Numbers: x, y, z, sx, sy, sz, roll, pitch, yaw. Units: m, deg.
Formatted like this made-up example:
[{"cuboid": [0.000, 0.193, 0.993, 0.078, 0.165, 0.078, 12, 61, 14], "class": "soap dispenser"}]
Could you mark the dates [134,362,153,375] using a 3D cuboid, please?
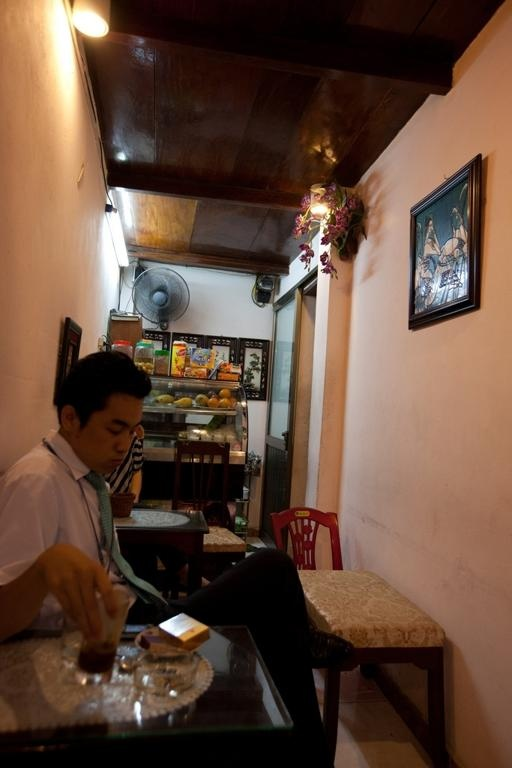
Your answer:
[{"cuboid": [-0.605, -0.089, 2.822, 0.082, 0.035, 0.084, 30, -4, 38], "class": "dates"}]

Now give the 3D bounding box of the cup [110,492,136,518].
[{"cuboid": [-0.573, 0.518, 2.223, 0.094, 0.086, 0.105, 2, 1, 18], "class": "cup"}]

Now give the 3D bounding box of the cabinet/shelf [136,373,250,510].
[{"cuboid": [-0.579, 0.606, 4.166, 1.046, 1.165, 0.800, 1, 12, -7], "class": "cabinet/shelf"}]

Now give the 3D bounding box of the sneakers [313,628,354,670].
[{"cuboid": [0.218, 0.825, 1.562, 0.127, 0.142, 0.140, 1, -6, -2], "class": "sneakers"}]

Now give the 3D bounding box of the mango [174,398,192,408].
[{"cuboid": [-0.558, 0.145, 4.011, 0.088, 0.048, 0.075, 10, 3, -13], "class": "mango"}]

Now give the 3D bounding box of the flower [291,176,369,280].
[{"cuboid": [0.461, -1.051, 3.283, 0.353, 0.258, 0.461, 31, 5, 28], "class": "flower"}]

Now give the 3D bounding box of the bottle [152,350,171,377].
[{"cuboid": [-0.769, -0.167, 4.179, 0.169, 0.323, 0.170, 2, 3, 0], "class": "bottle"}]
